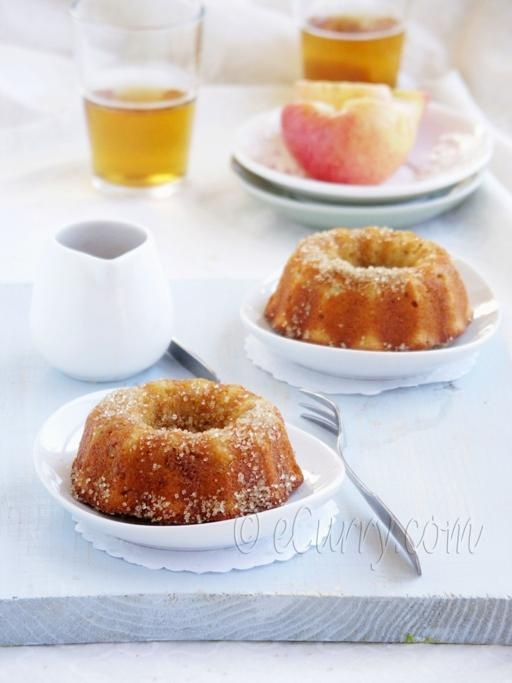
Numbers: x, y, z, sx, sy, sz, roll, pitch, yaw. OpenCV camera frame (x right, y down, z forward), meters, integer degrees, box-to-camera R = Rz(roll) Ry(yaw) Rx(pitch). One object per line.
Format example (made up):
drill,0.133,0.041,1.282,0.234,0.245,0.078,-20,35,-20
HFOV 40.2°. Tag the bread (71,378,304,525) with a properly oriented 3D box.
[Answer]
bread,-0.045,0.066,0.483,0.142,0.045,0.139,11,22,18

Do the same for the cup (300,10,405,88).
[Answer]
cup,0.146,-0.425,1.042,0.136,0.094,0.136,0,19,0

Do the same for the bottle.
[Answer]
bottle,-0.111,-0.030,0.666,0.155,0.130,0.139,5,31,1

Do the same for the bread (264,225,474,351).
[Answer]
bread,0.103,-0.077,0.682,0.152,0.045,0.139,-2,23,-2

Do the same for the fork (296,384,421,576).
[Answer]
fork,0.062,0.085,0.526,0.028,0.025,0.225,-19,37,-22

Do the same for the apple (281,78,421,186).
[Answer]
apple,0.127,-0.268,0.928,0.174,0.098,0.158,-4,21,-10
